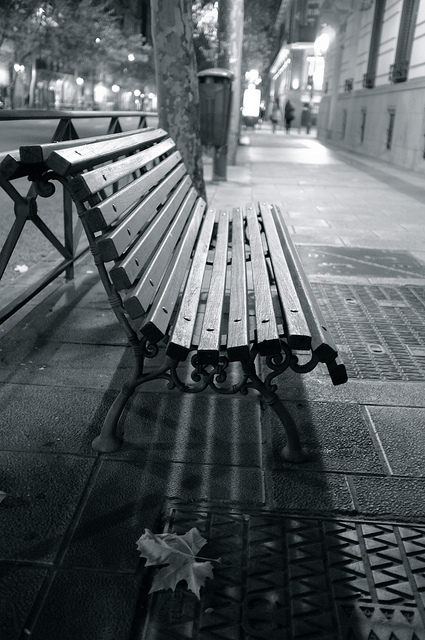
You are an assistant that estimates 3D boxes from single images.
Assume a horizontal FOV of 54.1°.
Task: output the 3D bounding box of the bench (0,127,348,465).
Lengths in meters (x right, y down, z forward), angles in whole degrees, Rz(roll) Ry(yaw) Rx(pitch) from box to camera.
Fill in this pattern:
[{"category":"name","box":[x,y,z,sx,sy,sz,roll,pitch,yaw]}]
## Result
[{"category":"bench","box":[-0.059,-0.333,2.363,1.444,1.338,2.189,7,21,9]}]
